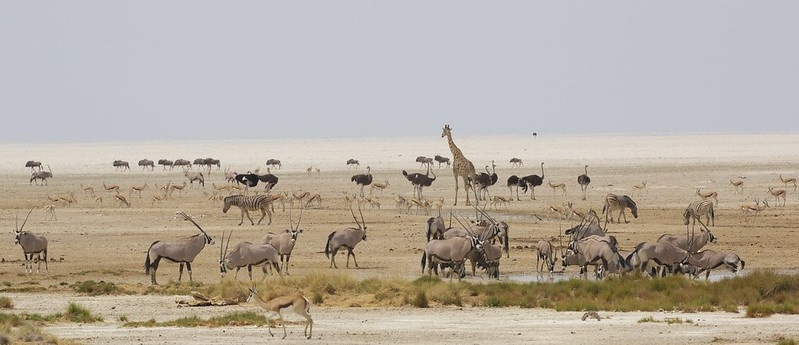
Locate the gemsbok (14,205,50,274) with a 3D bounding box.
[{"bbox_3d":[-32.588,7.083,116.170,2.540,6.072,5.904,-7,-14,10],"label":"gemsbok"}]

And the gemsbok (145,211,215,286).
[{"bbox_3d":[-20.092,6.949,114.132,5.509,6.074,3.599,-4,-8,-6],"label":"gemsbok"}]

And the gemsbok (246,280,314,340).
[{"bbox_3d":[-10.014,11.851,108.069,5.212,4.842,3.266,-6,-8,9],"label":"gemsbok"}]
